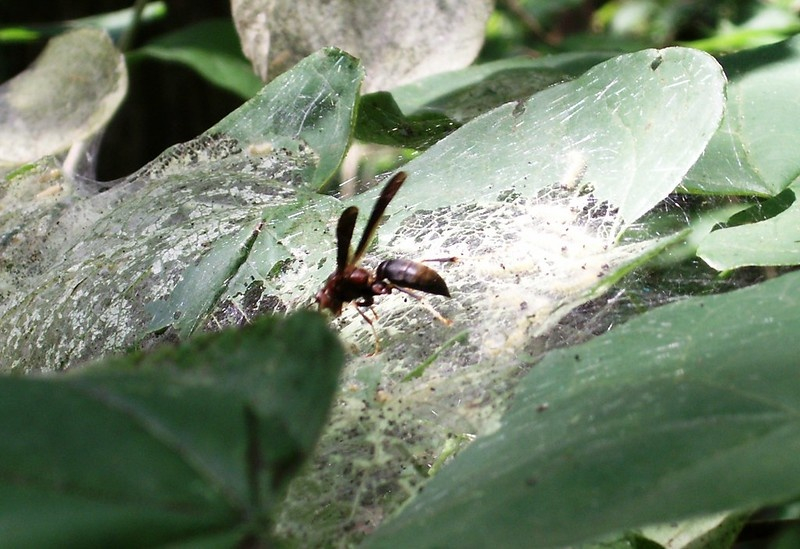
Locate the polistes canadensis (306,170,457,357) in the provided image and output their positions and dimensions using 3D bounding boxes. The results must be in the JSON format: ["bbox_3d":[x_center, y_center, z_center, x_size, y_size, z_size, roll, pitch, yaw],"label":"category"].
[{"bbox_3d":[-0.017,-0.015,1.567,0.293,0.236,0.271,-11,13,-28],"label":"polistes canadensis"}]
